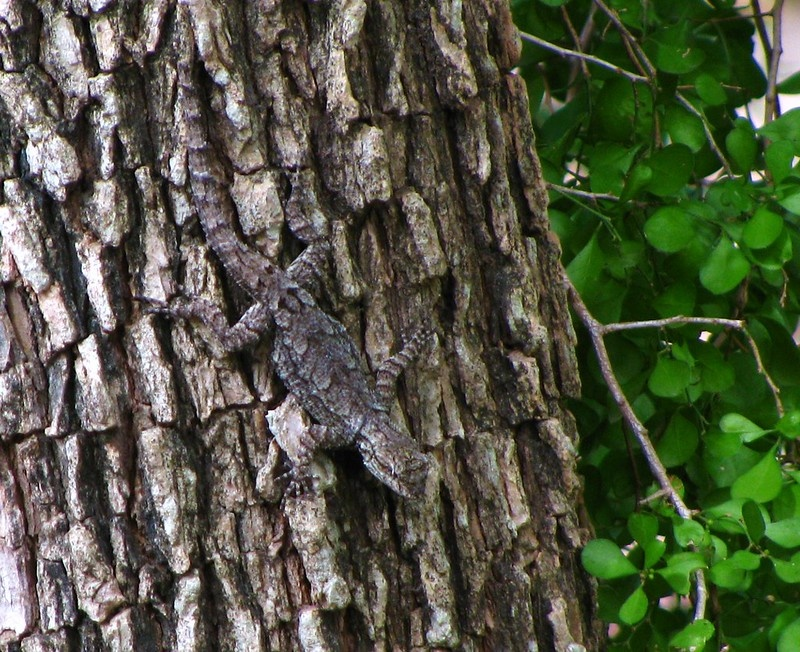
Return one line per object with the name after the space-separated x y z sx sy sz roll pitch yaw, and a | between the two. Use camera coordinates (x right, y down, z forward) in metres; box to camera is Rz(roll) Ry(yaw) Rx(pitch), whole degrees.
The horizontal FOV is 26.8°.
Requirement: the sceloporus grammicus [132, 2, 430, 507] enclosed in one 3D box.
-0.378 -0.345 5.211 0.628 1.746 0.857 -6 16 -13 | sceloporus grammicus
